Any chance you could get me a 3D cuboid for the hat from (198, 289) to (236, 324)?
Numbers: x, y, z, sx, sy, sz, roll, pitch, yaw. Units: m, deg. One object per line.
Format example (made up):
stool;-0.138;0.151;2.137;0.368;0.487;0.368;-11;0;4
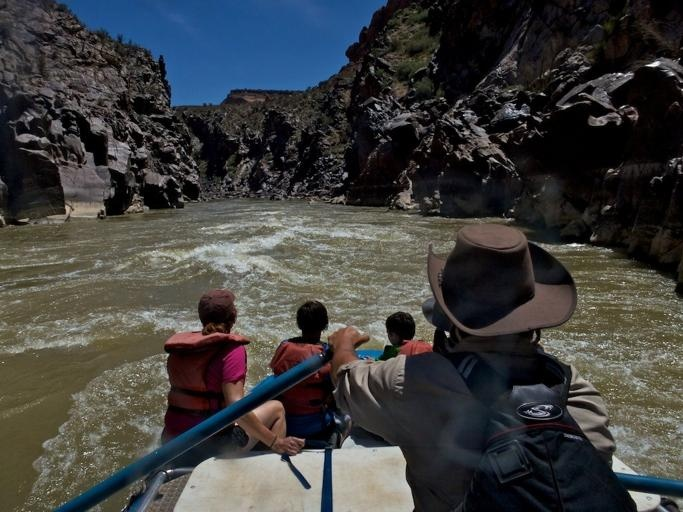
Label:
hat;-0.961;0.425;3.497;0.248;0.174;0.287;-2;48;7
